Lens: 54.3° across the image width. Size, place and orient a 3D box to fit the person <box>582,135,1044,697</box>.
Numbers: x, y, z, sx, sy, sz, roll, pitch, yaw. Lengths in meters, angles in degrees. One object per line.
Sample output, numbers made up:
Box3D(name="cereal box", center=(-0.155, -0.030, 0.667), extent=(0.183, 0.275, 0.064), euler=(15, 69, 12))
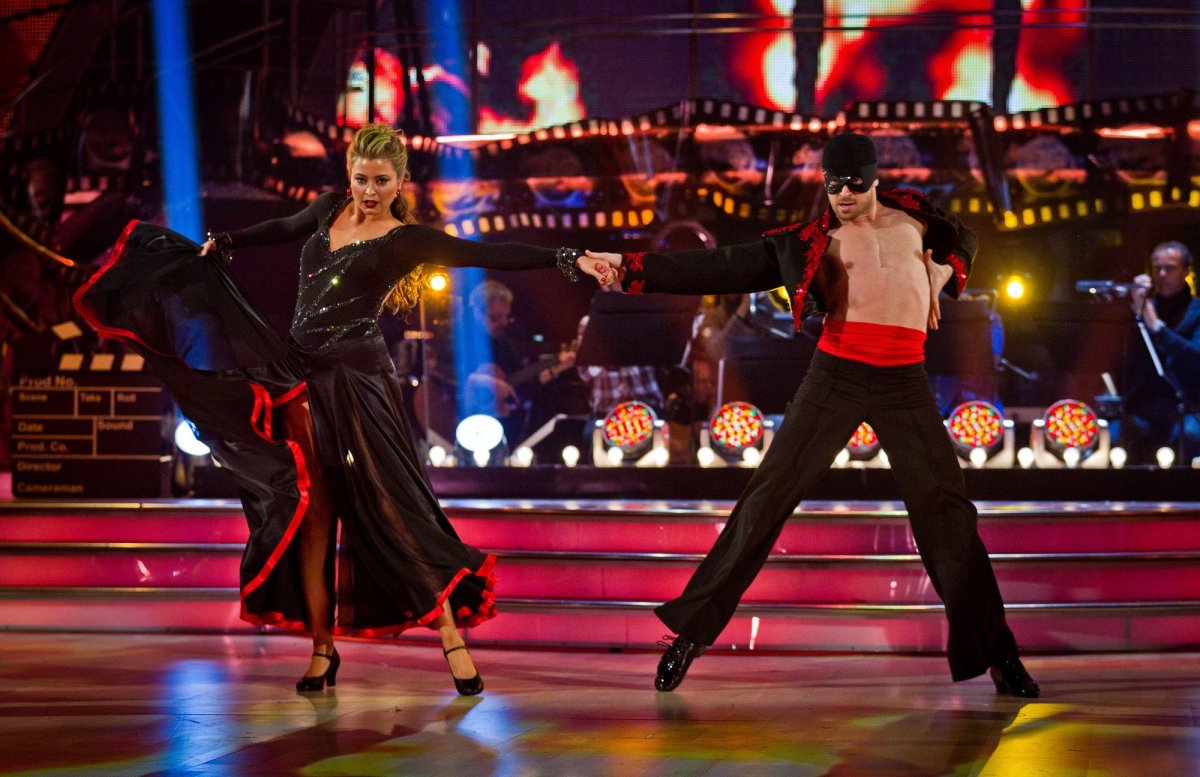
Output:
Box3D(name="person", center=(1.066, 0.107, 5.215), extent=(1.633, 2.454, 0.448), euler=(-1, 4, 4))

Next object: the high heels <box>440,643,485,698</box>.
Box3D(name="high heels", center=(-0.599, 1.236, 5.183), extent=(0.164, 0.214, 0.182), euler=(-2, 3, -1))

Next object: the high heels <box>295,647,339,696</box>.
Box3D(name="high heels", center=(-1.266, 1.252, 5.266), extent=(0.149, 0.185, 0.324), euler=(-1, 3, 10))

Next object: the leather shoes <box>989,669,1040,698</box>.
Box3D(name="leather shoes", center=(1.789, 1.270, 5.062), extent=(0.193, 0.121, 0.141), euler=(0, 3, 18))
